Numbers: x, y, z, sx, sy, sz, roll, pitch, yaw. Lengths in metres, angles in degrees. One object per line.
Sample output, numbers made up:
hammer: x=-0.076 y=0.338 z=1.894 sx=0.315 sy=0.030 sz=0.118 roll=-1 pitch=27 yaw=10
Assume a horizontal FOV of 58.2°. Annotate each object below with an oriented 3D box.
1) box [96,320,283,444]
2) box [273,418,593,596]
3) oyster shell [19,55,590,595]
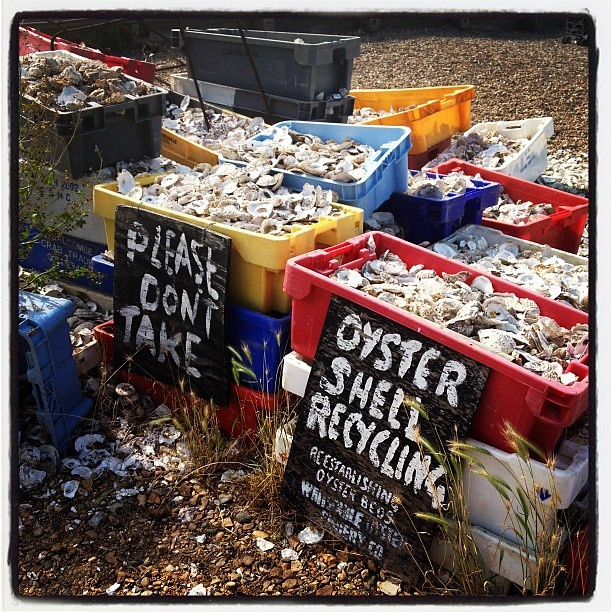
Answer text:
box: x=-0.540 y=0.408 z=2.453 sx=0.788 sy=0.237 sz=0.512 roll=18 pitch=20 yaw=28
box: x=0.518 y=0.441 z=2.009 sx=0.861 sy=0.362 sz=1.234 roll=10 pitch=25 yaw=27
oyster shell: x=-0.109 y=0.060 z=2.290 sx=2.279 sy=0.654 sz=2.096 roll=18 pitch=46 yaw=20
